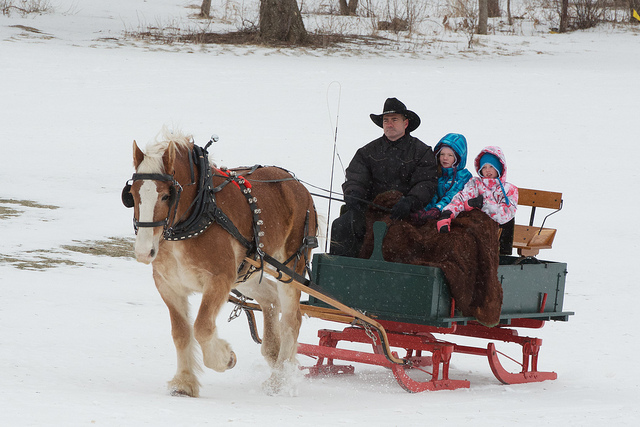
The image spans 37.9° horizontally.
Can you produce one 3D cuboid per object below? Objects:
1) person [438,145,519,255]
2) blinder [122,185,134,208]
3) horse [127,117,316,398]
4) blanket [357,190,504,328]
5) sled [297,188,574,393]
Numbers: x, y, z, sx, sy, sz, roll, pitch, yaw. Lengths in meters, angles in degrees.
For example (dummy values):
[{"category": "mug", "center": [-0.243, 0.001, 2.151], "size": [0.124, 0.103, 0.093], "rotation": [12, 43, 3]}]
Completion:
[{"category": "person", "center": [2.455, -0.403, 14.618], "size": [1.178, 1.284, 0.605], "rotation": [0, 8, -18]}, {"category": "blinder", "center": [-2.687, -0.258, 13.122], "size": [0.154, 0.327, 0.298], "rotation": [0, 8, -13]}, {"category": "horse", "center": [-1.407, 0.709, 13.751], "size": [2.823, 3.877, 1.138], "rotation": [-5, 11, -43]}, {"category": "blanket", "center": [1.826, 0.764, 14.368], "size": [1.853, 1.727, 0.862], "rotation": [2, 8, 3]}, {"category": "sled", "center": [1.965, 1.123, 15.464], "size": [4.515, 2.803, 3.211], "rotation": [1, 6, -35]}]
